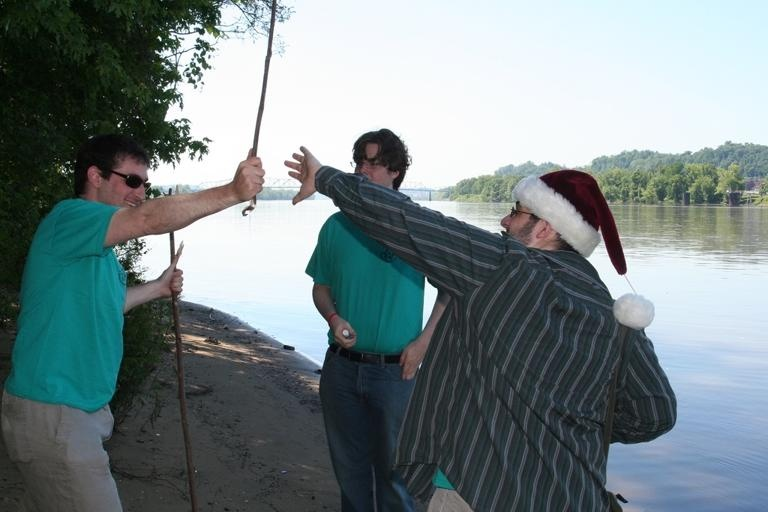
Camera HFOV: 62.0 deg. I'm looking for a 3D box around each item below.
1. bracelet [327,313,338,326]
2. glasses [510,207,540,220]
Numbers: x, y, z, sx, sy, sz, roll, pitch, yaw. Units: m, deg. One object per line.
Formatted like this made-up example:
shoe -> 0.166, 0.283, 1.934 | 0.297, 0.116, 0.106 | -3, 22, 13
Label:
bracelet -> -0.447, 0.561, 5.719 | 0.058, 0.118, 0.048 | 12, -6, 46
glasses -> 0.930, -0.284, 4.248 | 0.111, 0.030, 0.108 | 18, 7, -3
